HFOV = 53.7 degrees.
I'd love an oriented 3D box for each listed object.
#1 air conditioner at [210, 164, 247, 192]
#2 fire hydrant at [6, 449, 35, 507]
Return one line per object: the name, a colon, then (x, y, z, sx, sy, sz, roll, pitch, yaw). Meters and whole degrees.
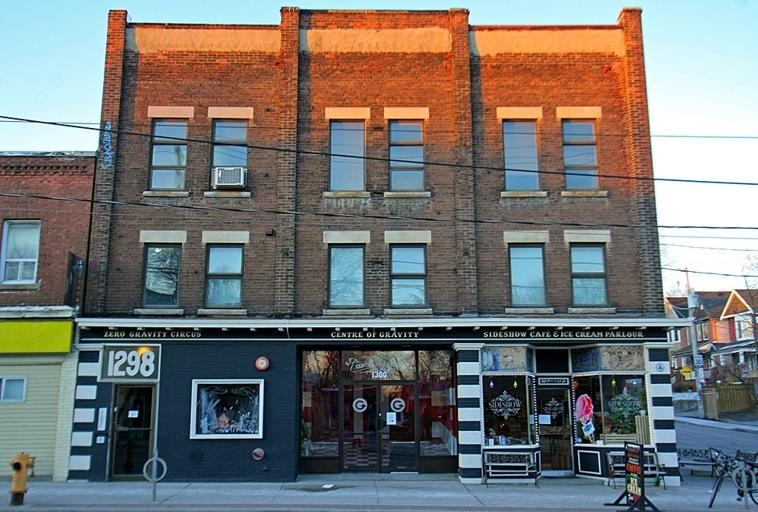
air conditioner: (-4.924, -2.521, 24.533, 1.497, 0.832, 0.697, 0, -12, -3)
fire hydrant: (-9.837, 6.092, 20.565, 0.482, 1.325, 0.946, 5, -16, -23)
